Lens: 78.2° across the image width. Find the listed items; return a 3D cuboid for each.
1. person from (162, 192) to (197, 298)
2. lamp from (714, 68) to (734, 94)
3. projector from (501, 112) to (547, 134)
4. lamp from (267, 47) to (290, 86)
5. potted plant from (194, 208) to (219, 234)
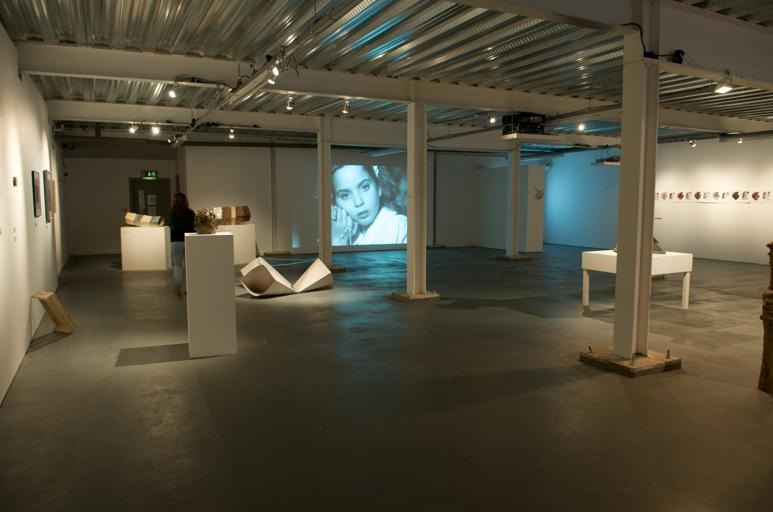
[{"bbox_3d":[-4.610,-0.219,10.637,0.505,2.312,1.410,-5,12,-24],"label":"person"},{"bbox_3d":[5.103,-2.611,7.129,0.171,0.261,0.580,7,12,33],"label":"lamp"},{"bbox_3d":[3.328,-3.205,11.793,0.918,0.461,0.681,-1,2,-23],"label":"projector"},{"bbox_3d":[-1.764,-3.101,7.789,0.324,0.454,1.094,22,24,-8],"label":"lamp"},{"bbox_3d":[-2.832,-0.523,7.371,0.351,0.385,0.380,0,-5,-3],"label":"potted plant"}]
